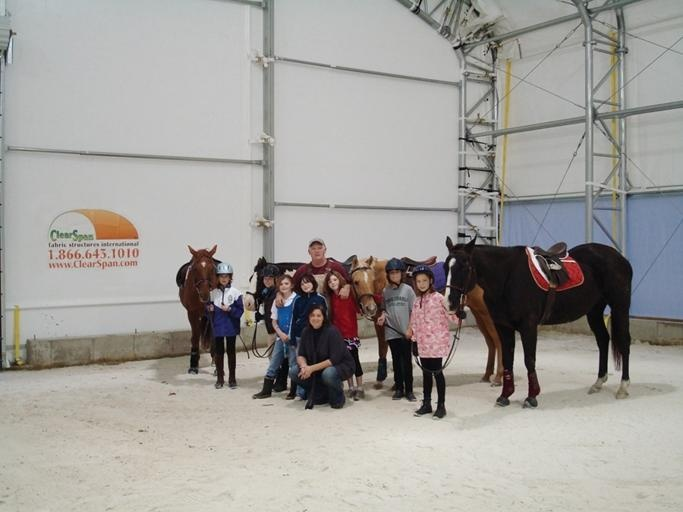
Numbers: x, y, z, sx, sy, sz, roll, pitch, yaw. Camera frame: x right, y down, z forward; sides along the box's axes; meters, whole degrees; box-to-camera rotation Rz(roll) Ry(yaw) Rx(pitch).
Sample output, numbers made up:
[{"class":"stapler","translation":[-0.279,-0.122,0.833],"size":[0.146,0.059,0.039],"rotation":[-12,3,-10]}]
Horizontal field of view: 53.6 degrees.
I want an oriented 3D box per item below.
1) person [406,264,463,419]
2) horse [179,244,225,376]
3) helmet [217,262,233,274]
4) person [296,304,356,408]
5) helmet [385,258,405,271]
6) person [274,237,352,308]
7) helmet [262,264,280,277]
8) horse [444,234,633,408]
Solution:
[{"class":"person","translation":[1.097,1.045,8.261],"size":[0.528,1.806,0.392],"rotation":[3,10,20]},{"class":"horse","translation":[-2.209,0.872,10.803],"size":[0.631,1.888,2.639],"rotation":[-1,-4,-12]},{"class":"helmet","translation":[-1.657,0.188,9.550],"size":[0.218,0.158,0.307],"rotation":[-2,10,-11]},{"class":"person","translation":[-0.204,1.276,8.732],"size":[0.723,1.358,0.479],"rotation":[-1,9,-5]},{"class":"helmet","translation":[0.708,0.113,8.880],"size":[0.228,0.175,0.270],"rotation":[0,10,1]},{"class":"person","translation":[-0.339,0.180,9.284],"size":[0.808,0.826,0.442],"rotation":[-4,-17,6]},{"class":"helmet","translation":[-0.976,0.205,9.526],"size":[0.203,0.179,0.147],"rotation":[17,-12,-42]},{"class":"horse","translation":[2.678,0.858,8.954],"size":[2.769,2.188,0.846],"rotation":[0,-3,-18]}]
